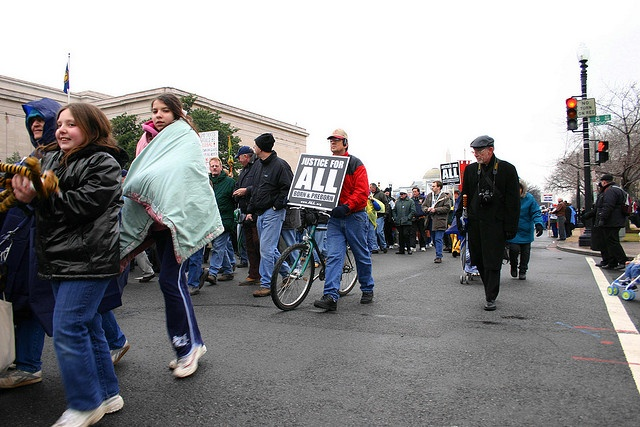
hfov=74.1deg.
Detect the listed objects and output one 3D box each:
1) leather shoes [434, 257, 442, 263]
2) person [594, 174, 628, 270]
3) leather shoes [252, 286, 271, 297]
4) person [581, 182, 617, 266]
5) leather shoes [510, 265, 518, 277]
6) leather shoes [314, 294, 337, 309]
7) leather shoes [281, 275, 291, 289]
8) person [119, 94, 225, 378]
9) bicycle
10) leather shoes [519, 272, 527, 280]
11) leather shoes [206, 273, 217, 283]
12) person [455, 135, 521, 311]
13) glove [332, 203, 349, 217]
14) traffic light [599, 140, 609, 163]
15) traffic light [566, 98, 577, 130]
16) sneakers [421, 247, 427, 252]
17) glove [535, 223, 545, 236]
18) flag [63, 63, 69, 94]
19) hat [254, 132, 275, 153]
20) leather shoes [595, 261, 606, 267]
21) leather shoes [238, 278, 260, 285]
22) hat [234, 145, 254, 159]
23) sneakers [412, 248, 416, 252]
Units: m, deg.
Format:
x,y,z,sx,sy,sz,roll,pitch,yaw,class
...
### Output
x,y,z,sx,sy,sz,roll,pitch,yaw,class
3.313,1.291,11.886,0.215,0.146,0.263,1,3,12,leather shoes
7.321,0.184,10.629,0.699,2.357,1.064,2,3,33,person
-0.947,1.291,6.966,0.297,0.127,0.133,3,-6,-21,leather shoes
7.440,0.223,11.231,0.825,2.436,0.767,0,-1,45,person
4.209,1.238,9.188,0.095,0.252,0.109,-2,3,15,leather shoes
0.100,1.264,5.970,0.370,0.210,0.145,7,-9,-21,leather shoes
-0.474,0.970,5.982,0.089,0.190,0.185,0,32,26,leather shoes
-1.416,0.123,3.987,1.097,2.501,0.756,-2,-9,-20,person
0.036,0.644,6.721,0.975,1.457,2.463,7,3,31,bicycle
4.344,1.356,9.070,0.105,0.120,0.286,-4,-14,14,leather shoes
-2.061,1.234,8.019,0.126,0.147,0.348,4,-22,9,leather shoes
2.565,0.102,6.469,0.545,2.546,0.751,-1,3,-20,person
0.290,-0.038,6.190,0.282,0.199,0.173,0,3,4,glove
10.586,-2.330,15.848,0.277,0.785,0.438,1,3,25,traffic light
9.119,-3.619,15.323,0.257,1.190,0.711,2,4,39,traffic light
3.968,1.369,16.331,0.090,0.109,0.267,-11,-23,22,sneakers
4.537,0.338,8.782,0.102,0.287,0.214,5,-18,23,glove
-17.011,-9.094,28.465,0.230,2.084,1.839,-2,3,-33,flag
-0.947,-1.218,7.194,0.271,0.265,0.362,6,-2,6,hat
7.215,1.320,10.875,0.149,0.183,0.444,-6,-16,33,leather shoes
-1.337,1.303,8.098,0.403,0.174,0.152,4,-6,-21,leather shoes
-1.554,-1.255,8.622,0.340,0.182,0.219,5,15,6,hat
3.597,1.384,16.089,0.139,0.159,0.179,-1,-2,7,sneakers
